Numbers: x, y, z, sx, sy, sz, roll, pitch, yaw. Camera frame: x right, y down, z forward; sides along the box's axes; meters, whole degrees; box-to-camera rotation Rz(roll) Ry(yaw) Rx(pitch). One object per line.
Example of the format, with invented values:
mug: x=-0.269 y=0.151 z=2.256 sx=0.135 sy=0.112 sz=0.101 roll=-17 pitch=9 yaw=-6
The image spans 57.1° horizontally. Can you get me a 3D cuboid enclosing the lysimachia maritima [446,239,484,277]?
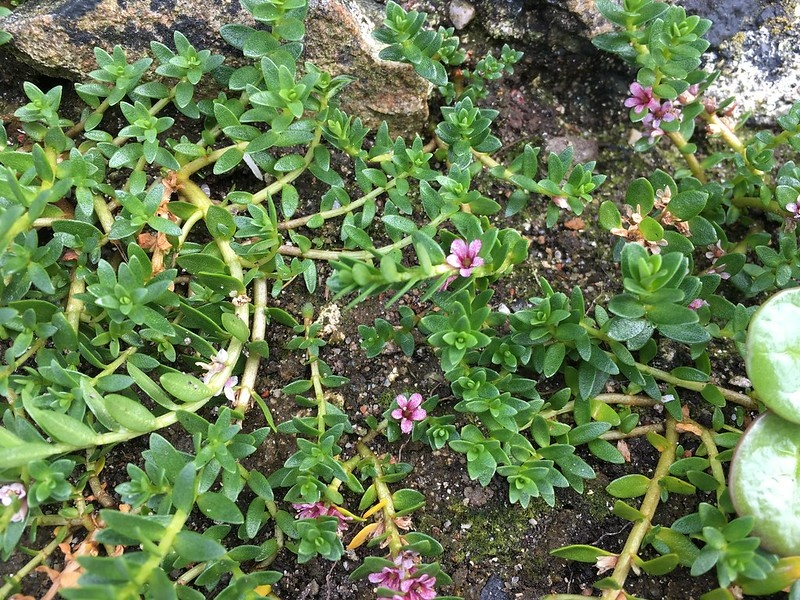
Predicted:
lysimachia maritima: x=0.296 y=-0.189 z=3.227 sx=0.157 sy=0.134 sz=0.176 roll=14 pitch=72 yaw=8

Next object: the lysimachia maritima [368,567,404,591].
lysimachia maritima: x=-0.055 y=1.192 z=3.157 sx=0.138 sy=0.119 sz=0.094 roll=1 pitch=70 yaw=4
